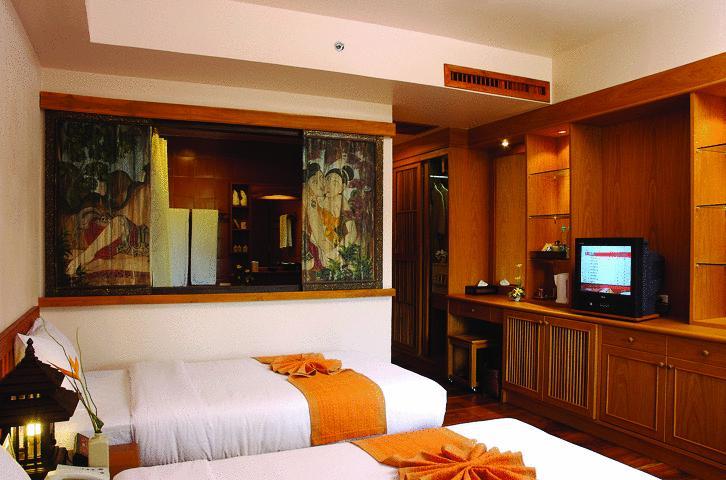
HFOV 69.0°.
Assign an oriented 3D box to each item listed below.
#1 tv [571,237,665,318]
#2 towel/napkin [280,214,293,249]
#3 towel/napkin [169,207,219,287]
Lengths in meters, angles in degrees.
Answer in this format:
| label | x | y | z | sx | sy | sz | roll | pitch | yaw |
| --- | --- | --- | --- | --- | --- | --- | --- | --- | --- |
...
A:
| label | x | y | z | sx | sy | sz | roll | pitch | yaw |
| --- | --- | --- | --- | --- | --- | --- | --- | --- | --- |
| tv | 2.426 | 0.408 | 5.305 | 0.686 | 0.951 | 0.885 | 7 | -3 | -32 |
| towel/napkin | -1.035 | -0.124 | 7.094 | 0.180 | 0.465 | 0.059 | -1 | 1 | -13 |
| towel/napkin | -1.947 | 0.060 | 6.096 | 0.526 | 0.884 | 0.872 | -1 | 1 | -19 |
